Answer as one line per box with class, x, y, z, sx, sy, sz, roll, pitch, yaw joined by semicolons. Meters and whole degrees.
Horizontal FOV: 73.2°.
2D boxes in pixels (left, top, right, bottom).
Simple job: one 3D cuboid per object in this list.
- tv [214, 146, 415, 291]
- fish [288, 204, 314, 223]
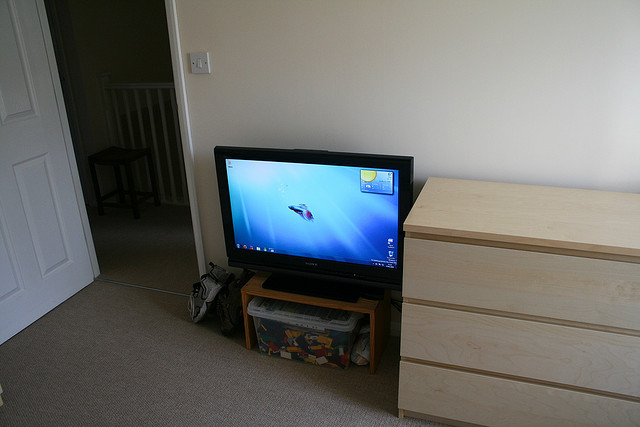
tv;0.004;0.007;2.575;0.914;0.635;0.083;5;22;14
fish;-0.108;-0.005;2.610;0.138;0.086;0.031;28;28;11
